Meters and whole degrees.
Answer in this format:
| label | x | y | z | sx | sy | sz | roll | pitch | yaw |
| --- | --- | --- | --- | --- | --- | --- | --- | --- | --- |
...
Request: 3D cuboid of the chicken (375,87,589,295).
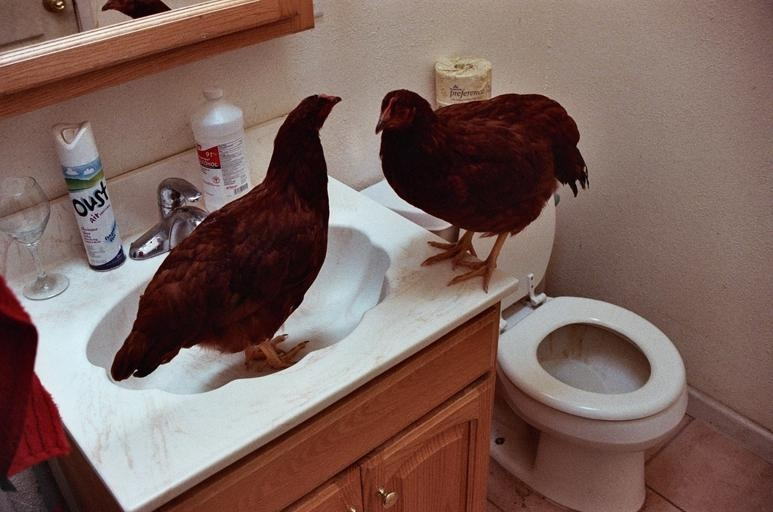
| label | x | y | z | sx | sy | sz | roll | pitch | yaw |
| --- | --- | --- | --- | --- | --- | --- | --- | --- | --- |
| chicken | 0.192 | -0.162 | 1.211 | 0.505 | 0.383 | 0.255 | -15 | 33 | -21 |
